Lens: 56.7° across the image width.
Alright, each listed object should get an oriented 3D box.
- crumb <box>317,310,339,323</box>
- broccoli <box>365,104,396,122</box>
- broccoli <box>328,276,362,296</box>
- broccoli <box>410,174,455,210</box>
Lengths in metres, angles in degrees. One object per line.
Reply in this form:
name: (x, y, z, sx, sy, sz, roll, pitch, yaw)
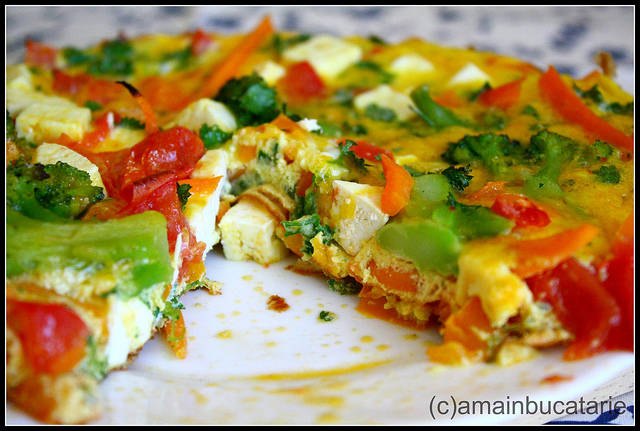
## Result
crumb: (0.050, 0.678, 3.962, 0.083, 0.029, 0.079, -3, 25, -5)
broccoli: (0.541, -0.914, 5.363, 0.210, 0.048, 0.159, 22, 52, 22)
broccoli: (0.176, 0.492, 4.119, 0.169, 0.042, 0.149, 3, 25, 15)
broccoli: (0.725, -0.169, 3.883, 0.244, 0.072, 0.247, 14, 55, -2)
